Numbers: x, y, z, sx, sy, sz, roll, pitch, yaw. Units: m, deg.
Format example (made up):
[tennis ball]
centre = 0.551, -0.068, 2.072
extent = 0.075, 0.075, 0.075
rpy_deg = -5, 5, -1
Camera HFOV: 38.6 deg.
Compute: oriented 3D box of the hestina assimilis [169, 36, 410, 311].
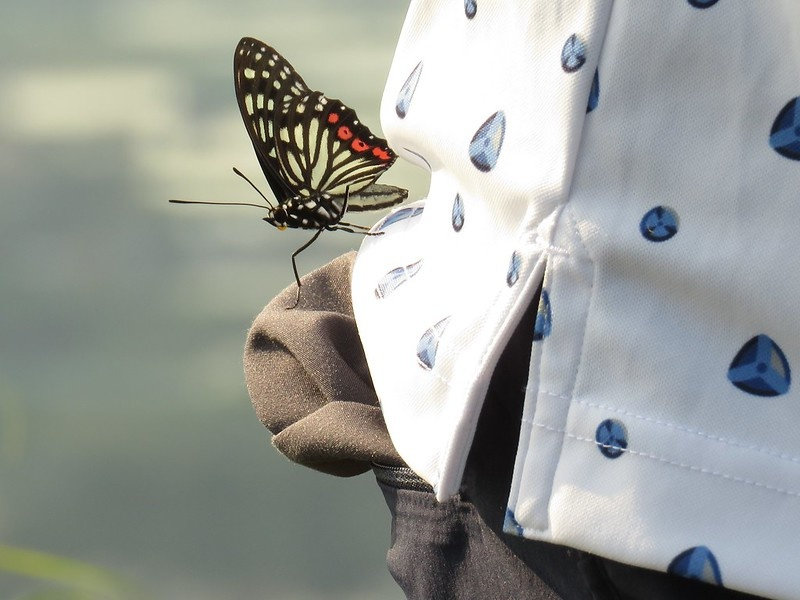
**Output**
[hestina assimilis]
centre = -0.082, -0.111, 1.018
extent = 0.179, 0.226, 0.177
rpy_deg = -7, -97, -5
